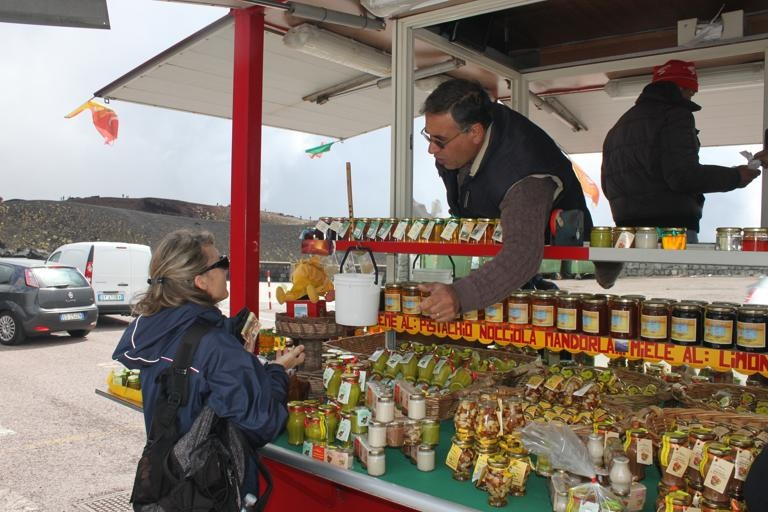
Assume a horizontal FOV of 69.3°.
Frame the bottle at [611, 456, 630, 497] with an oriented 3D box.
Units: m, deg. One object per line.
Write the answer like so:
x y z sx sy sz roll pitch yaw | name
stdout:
1.175 1.081 2.743 0.108 0.172 0.104 2 4 0 | bottle

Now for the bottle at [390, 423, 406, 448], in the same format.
0.070 1.015 3.163 0.134 0.134 0.126 1 -4 -6 | bottle

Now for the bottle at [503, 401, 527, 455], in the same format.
0.710 0.914 3.006 0.115 0.229 0.237 3 5 13 | bottle

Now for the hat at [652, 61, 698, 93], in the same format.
2.439 -1.489 4.644 0.393 0.226 0.273 -2 10 -16 | hat

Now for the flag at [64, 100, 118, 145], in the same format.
-4.867 -2.249 9.396 0.658 0.678 0.524 2 4 4 | flag

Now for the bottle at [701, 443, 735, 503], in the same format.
1.619 1.054 2.681 0.134 0.275 0.086 4 5 25 | bottle

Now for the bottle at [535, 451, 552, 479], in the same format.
0.871 1.146 3.035 0.041 0.120 0.123 0 5 -28 | bottle

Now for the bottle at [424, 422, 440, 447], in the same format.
0.266 0.993 3.113 0.086 0.135 0.084 2 4 0 | bottle

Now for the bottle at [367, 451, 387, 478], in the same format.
-0.042 1.126 3.047 0.110 0.136 0.087 2 4 -1 | bottle

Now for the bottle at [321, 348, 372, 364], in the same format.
-0.269 0.644 3.595 0.179 0.072 0.200 -1 0 5 | bottle

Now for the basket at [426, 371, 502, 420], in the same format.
0.498 0.874 3.511 0.417 0.117 0.305 -4 -3 27 | basket

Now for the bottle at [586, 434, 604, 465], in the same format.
1.095 0.992 2.855 0.086 0.139 0.088 2 4 0 | bottle

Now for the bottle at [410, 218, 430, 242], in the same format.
0.272 -0.190 4.110 0.112 0.190 0.028 27 -2 25 | bottle

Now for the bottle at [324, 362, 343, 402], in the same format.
-0.319 0.766 3.438 0.127 0.220 0.113 3 4 5 | bottle

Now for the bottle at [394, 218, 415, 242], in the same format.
0.158 -0.190 4.174 0.119 0.206 0.031 25 -10 32 | bottle

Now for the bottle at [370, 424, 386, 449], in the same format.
-0.037 0.991 3.098 0.100 0.125 0.084 2 4 -1 | bottle

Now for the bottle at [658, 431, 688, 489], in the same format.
1.478 1.027 2.809 0.133 0.239 0.125 2 4 0 | bottle

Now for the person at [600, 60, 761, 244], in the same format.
2.364 -0.890 4.583 0.591 1.489 1.039 0 5 -27 | person

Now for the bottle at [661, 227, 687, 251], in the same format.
1.743 -0.103 3.337 0.146 0.125 0.143 4 -5 -43 | bottle

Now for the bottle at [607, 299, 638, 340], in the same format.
1.459 0.371 3.377 0.170 0.242 0.101 4 5 21 | bottle

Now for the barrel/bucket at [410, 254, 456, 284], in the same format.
0.476 0.109 4.898 0.313 0.443 0.274 -1 -1 27 | barrel/bucket

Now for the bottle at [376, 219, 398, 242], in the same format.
0.031 -0.193 4.250 0.123 0.180 0.113 21 -9 3 | bottle

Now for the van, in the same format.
-5.496 0.456 10.677 1.538 1.250 2.631 -2 9 -42 | van

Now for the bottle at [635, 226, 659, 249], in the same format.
1.601 -0.114 3.373 0.141 0.133 0.134 1 -3 -24 | bottle

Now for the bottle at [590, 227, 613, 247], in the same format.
1.369 -0.119 3.475 0.131 0.131 0.132 -1 -2 40 | bottle

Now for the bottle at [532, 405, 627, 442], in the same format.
1.088 0.926 3.118 0.477 0.093 0.453 2 5 0 | bottle

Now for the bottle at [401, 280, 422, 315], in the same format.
0.192 0.309 3.881 0.216 0.290 0.186 0 -6 1 | bottle

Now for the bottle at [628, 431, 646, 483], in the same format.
1.357 1.065 2.944 0.122 0.266 0.062 0 5 -24 | bottle

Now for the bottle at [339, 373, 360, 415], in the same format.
-0.207 0.813 3.318 0.140 0.196 0.106 2 4 -3 | bottle

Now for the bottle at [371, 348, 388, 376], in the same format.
-0.022 0.731 3.776 0.145 0.183 0.135 4 -1 0 | bottle

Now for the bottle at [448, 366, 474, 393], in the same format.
0.511 0.808 3.668 0.144 0.131 0.145 -6 10 18 | bottle

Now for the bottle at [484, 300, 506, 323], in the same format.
0.733 0.370 3.718 0.150 0.128 0.144 3 -2 -29 | bottle

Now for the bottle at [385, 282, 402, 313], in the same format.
0.066 0.294 3.934 0.195 0.190 0.184 0 -3 -3 | bottle

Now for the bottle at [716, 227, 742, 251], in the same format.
2.001 -0.102 3.199 0.140 0.122 0.140 -1 -1 37 | bottle

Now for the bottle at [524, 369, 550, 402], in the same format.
1.007 0.850 3.640 0.128 0.068 0.219 21 50 36 | bottle

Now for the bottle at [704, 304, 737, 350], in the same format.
1.956 0.402 3.224 0.187 0.237 0.145 0 5 -29 | bottle

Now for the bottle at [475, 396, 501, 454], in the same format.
0.567 0.912 3.038 0.132 0.249 0.188 1 4 -11 | bottle

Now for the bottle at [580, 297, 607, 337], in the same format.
1.309 0.367 3.426 0.157 0.227 0.082 4 5 18 | bottle

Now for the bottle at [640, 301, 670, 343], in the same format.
1.632 0.382 3.315 0.168 0.233 0.107 0 5 -26 | bottle

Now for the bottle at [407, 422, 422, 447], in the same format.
0.174 1.005 3.166 0.059 0.138 0.070 -1 6 -38 | bottle

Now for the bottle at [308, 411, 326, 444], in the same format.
-0.388 1.008 3.262 0.146 0.182 0.137 0 -9 0 | bottle

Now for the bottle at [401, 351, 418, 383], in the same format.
0.172 0.739 3.749 0.161 0.214 0.142 3 -22 2 | bottle

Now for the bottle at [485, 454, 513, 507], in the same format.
0.590 1.153 2.851 0.135 0.220 0.119 3 4 11 | bottle

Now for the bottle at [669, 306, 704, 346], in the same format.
1.784 0.396 3.253 0.173 0.232 0.099 3 5 16 | bottle

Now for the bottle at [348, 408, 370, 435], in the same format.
-0.137 0.952 3.206 0.125 0.150 0.139 2 -3 -19 | bottle

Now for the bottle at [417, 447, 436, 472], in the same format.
0.228 1.114 3.080 0.133 0.133 0.126 -1 -3 -5 | bottle
